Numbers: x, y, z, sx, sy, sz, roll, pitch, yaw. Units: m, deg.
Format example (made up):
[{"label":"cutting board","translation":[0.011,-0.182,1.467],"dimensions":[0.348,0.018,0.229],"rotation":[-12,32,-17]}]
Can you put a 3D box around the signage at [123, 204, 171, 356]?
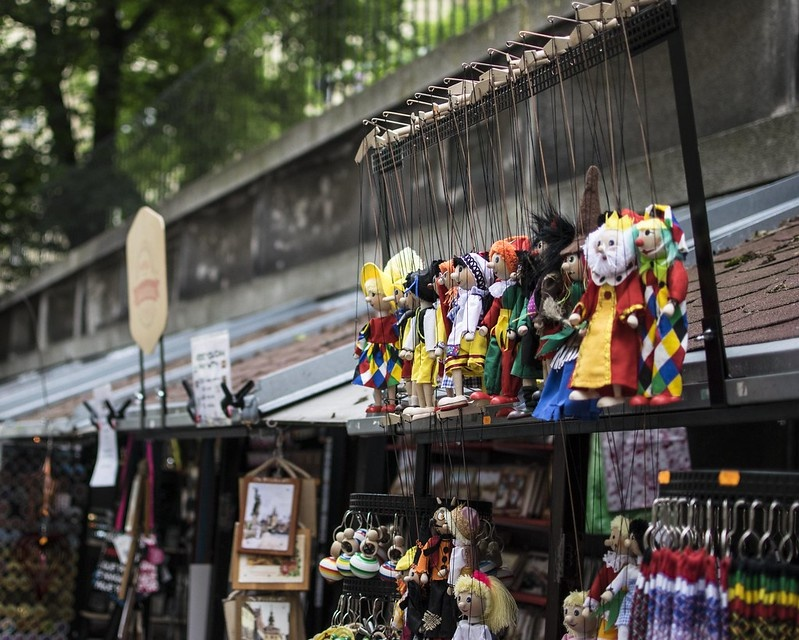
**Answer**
[{"label":"signage","translation":[-1.965,-0.342,11.465],"dimensions":[0.104,1.886,0.869],"rotation":[1,-5,-24]}]

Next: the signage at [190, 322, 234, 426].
[{"label":"signage","translation":[-1.385,0.456,10.774],"dimensions":[0.293,0.776,0.065],"rotation":[-4,-23,-1]}]

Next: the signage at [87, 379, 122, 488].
[{"label":"signage","translation":[-2.335,1.003,11.626],"dimensions":[0.219,1.005,0.031],"rotation":[1,-52,-10]}]
